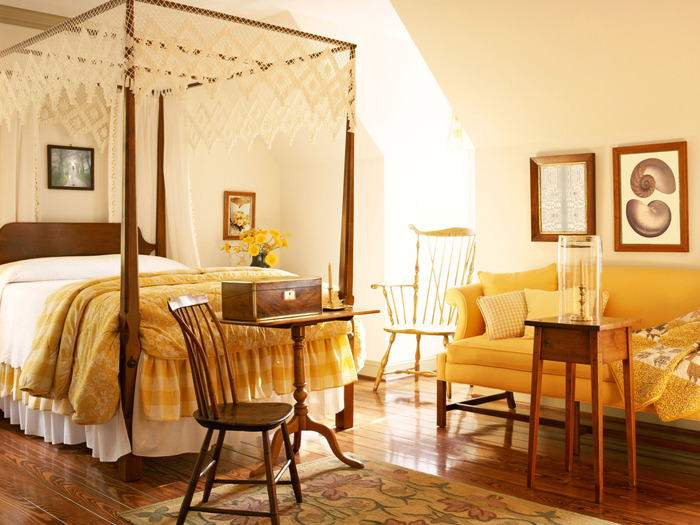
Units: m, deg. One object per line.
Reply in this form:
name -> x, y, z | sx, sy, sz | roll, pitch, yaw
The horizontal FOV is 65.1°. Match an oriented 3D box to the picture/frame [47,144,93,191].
picture/frame -> -2.628, -0.891, 5.089 | 0.488, 0.429, 0.040 | -3, 2, -38

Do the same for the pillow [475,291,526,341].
pillow -> 1.104, 0.388, 3.972 | 0.348, 0.302, 0.104 | -6, -11, -15

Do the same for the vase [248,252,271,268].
vase -> -0.913, -0.028, 5.523 | 0.194, 0.226, 0.201 | 2, 2, -16

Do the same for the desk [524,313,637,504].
desk -> 1.191, 0.724, 2.953 | 0.468, 0.735, 0.446 | 0, -9, 19

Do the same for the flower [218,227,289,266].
flower -> -0.921, -0.112, 5.662 | 0.401, 0.306, 0.374 | 1, -23, 10

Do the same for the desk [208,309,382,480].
desk -> -0.377, 0.642, 3.276 | 0.891, 0.970, 1.137 | 0, 2, 42
